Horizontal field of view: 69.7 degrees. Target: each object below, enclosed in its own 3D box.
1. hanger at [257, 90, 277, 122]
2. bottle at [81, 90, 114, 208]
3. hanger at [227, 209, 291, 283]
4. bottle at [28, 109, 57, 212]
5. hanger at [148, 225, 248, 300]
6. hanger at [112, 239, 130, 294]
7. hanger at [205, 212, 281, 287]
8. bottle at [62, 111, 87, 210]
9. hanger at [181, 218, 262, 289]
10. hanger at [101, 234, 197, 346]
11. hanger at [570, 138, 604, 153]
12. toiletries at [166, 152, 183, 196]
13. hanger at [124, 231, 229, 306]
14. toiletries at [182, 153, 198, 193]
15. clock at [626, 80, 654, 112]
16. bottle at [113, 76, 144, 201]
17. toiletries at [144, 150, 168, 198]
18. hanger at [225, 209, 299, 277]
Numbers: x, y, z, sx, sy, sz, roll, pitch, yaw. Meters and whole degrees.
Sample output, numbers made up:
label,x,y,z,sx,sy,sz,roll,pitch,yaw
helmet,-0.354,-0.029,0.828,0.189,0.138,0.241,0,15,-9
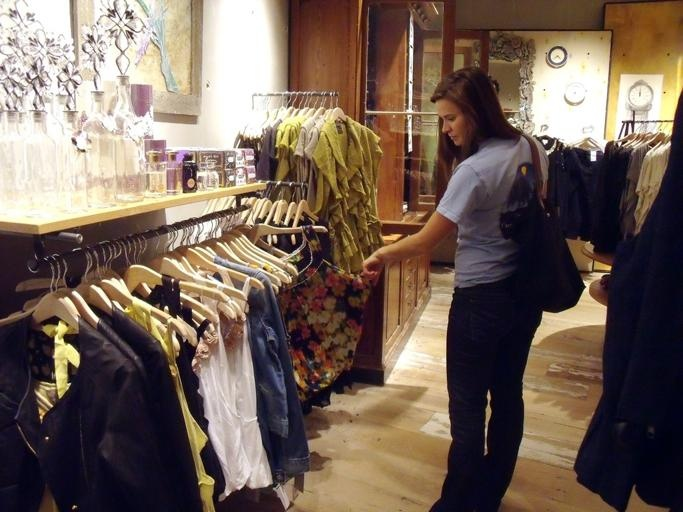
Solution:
label,x,y,z,sx,sy,sz,roll,pitch,yaw
hanger,-0.538,-1.074,3.544,0.122,0.181,0.518,0,13,-7
bottle,-0.805,-0.355,1.626,0.099,0.364,0.094,1,11,0
hanger,-0.354,-0.020,2.230,0.303,0.101,0.229,34,6,0
bottle,-0.913,-0.289,1.496,0.078,0.293,0.061,-6,13,-33
hanger,-0.523,0.045,1.900,0.327,0.101,0.191,24,12,19
hanger,-0.815,0.039,1.809,0.026,0.280,0.140,-2,8,-34
hanger,-0.431,-0.038,2.171,0.193,0.323,0.088,-22,1,32
bottle,-0.842,-0.294,1.541,0.057,0.294,0.078,-3,12,-22
hanger,-0.483,0.011,2.003,0.269,0.093,0.204,27,9,11
hanger,-0.753,0.085,1.860,0.300,0.329,0.896,-5,15,-27
hanger,2.602,-1.184,5.194,0.292,0.116,0.241,0,12,-28
toiletries,-0.664,-0.331,1.945,0.054,0.162,0.108,-2,12,-15
hanger,-0.548,0.060,1.771,0.265,0.111,0.181,26,15,23
toiletries,-0.634,-0.347,2.044,0.060,0.154,0.118,-3,12,-17
clock,3.727,-2.009,6.114,0.202,0.218,0.263,3,20,32
bottle,-0.747,-0.409,1.717,0.088,0.421,0.155,-4,12,-24
toiletries,-0.695,-0.309,1.836,0.071,0.160,0.049,-5,12,-26
hanger,-0.369,-0.074,2.315,0.221,0.079,0.315,27,11,-2
